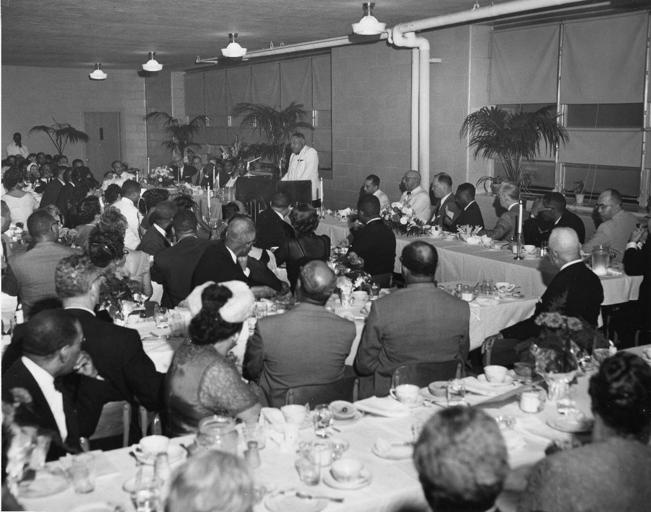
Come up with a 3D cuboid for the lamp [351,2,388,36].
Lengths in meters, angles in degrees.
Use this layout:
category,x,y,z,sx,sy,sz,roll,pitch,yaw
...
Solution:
category,x,y,z,sx,sy,sz,roll,pitch,yaw
lamp,0.686,-3.301,8.107,0.588,0.627,0.617,-1,16,-3
